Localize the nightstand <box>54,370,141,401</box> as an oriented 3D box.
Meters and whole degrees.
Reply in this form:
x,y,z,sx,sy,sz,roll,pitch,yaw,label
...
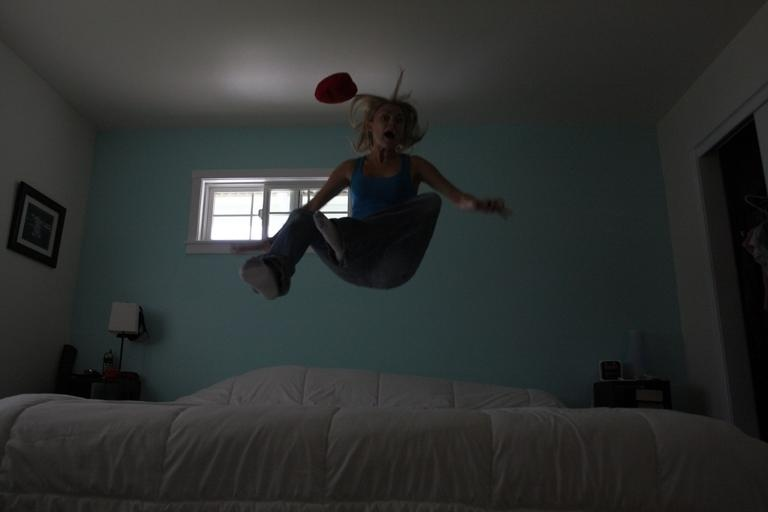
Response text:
x,y,z,sx,sy,sz,roll,pitch,yaw,label
-2.369,1.089,4.572,0.550,0.333,0.318,1,0,-1,nightstand

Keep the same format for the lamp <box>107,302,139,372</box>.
x,y,z,sx,sy,sz,roll,pitch,yaw,label
-2.345,0.733,5.014,0.262,0.622,0.303,-1,1,-23,lamp
